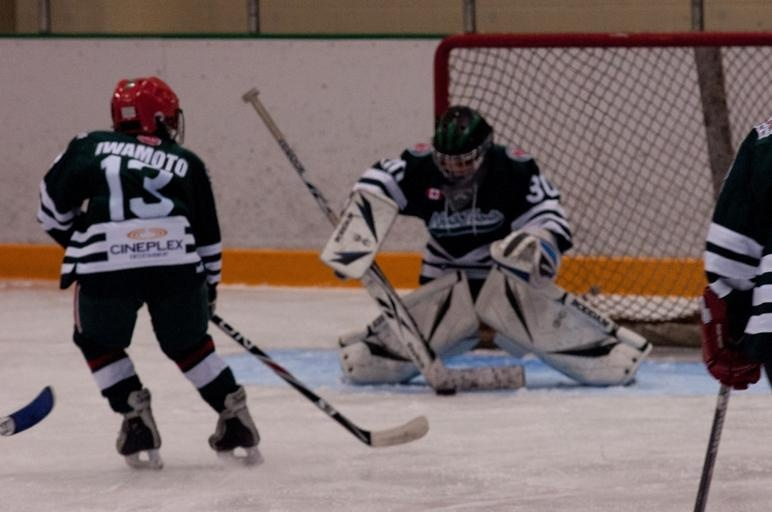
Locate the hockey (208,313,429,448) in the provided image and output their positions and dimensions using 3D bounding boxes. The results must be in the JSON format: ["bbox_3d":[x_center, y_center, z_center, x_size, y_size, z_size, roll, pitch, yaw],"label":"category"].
[{"bbox_3d":[-0.230,0.696,5.586,1.377,0.098,0.447,28,22,24],"label":"hockey"}]

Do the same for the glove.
[{"bbox_3d":[1.377,0.330,4.793,0.299,0.366,0.141,4,11,19],"label":"glove"}]

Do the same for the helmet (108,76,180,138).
[{"bbox_3d":[-1.083,-0.698,5.549,0.279,0.273,0.315,6,14,22],"label":"helmet"}]

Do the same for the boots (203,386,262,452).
[{"bbox_3d":[-0.690,0.758,5.450,0.350,0.370,0.188,0,6,-6],"label":"boots"}]

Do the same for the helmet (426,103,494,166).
[{"bbox_3d":[0.393,-0.598,5.974,0.275,0.236,0.276,-1,39,20],"label":"helmet"}]
